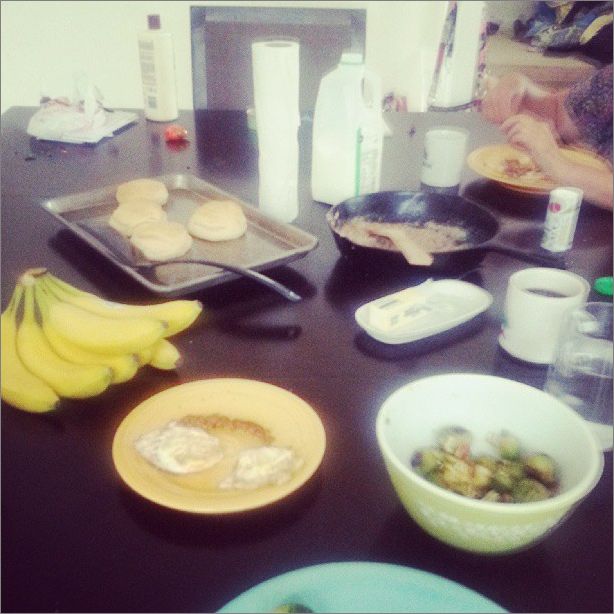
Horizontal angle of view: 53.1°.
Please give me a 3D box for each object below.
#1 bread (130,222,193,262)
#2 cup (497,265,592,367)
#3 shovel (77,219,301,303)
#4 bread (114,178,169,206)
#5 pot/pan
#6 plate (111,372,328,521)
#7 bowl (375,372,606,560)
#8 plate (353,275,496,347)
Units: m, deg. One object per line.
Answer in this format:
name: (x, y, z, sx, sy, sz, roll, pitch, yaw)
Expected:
bread: (-0.245, -0.099, 1.051, 0.112, 0.027, 0.076, 13, 43, 1)
cup: (0.272, 0.006, 0.769, 0.099, 0.088, 0.132, 1, 26, 5)
shovel: (-0.179, -0.068, 0.945, 0.464, 0.051, 0.058, 13, 7, 16)
bread: (-0.316, -0.218, 1.175, 0.083, 0.020, 0.069, -1, 30, -9)
pot/pan: (0.191, -0.120, 0.969, 0.157, 0.042, 0.239, -20, 35, -33)
plate: (-0.082, 0.124, 0.572, 0.190, 0.034, 0.184, -6, 23, -18)
bowl: (0.148, 0.132, 0.520, 0.174, 0.092, 0.162, 2, 23, -1)
plate: (0.156, 0.002, 0.812, 0.160, 0.022, 0.089, -14, 30, -19)
